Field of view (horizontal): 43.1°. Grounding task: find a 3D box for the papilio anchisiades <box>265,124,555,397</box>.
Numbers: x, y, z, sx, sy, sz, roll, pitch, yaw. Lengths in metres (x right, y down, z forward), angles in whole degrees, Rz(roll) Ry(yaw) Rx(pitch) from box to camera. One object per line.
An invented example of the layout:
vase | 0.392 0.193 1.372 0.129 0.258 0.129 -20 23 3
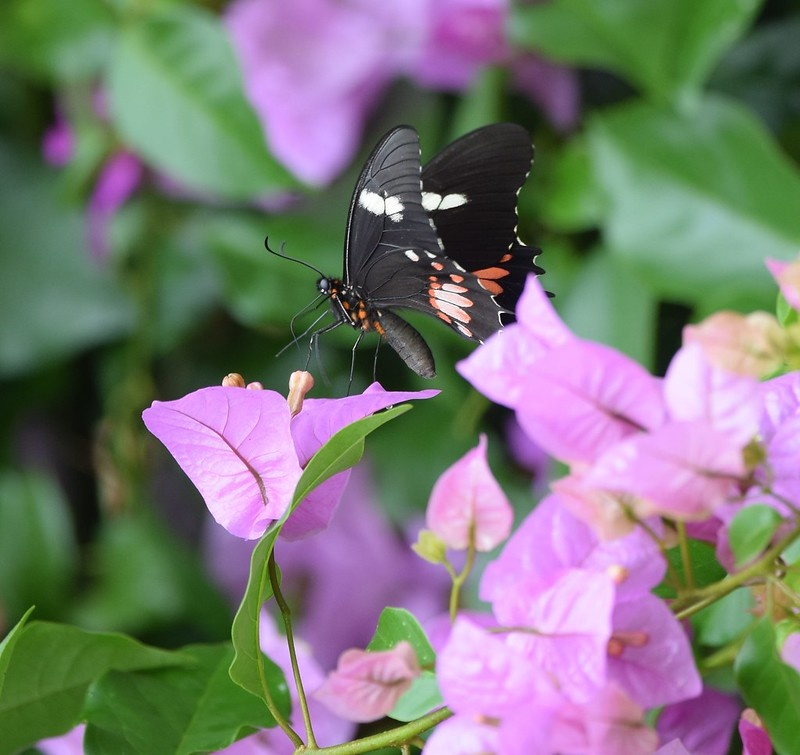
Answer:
papilio anchisiades | 0.010 -0.092 0.685 0.193 0.223 0.172 -3 20 -21
